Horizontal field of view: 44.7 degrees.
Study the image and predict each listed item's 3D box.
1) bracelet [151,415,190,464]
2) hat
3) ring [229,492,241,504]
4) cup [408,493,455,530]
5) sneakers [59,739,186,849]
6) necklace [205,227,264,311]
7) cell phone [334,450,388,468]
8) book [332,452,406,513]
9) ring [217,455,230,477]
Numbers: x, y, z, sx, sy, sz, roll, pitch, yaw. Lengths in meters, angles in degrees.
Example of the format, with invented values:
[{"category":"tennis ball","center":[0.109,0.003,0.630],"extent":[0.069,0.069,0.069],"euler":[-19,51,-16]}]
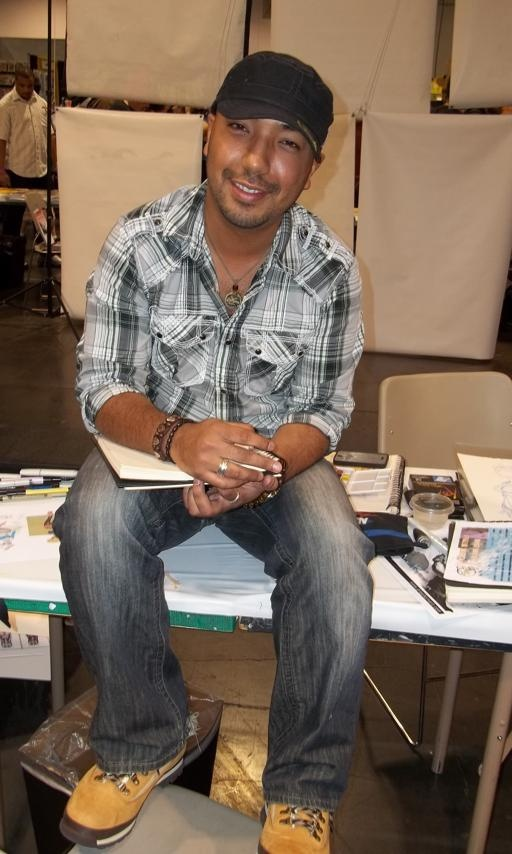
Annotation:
[{"category":"bracelet","center":[-0.135,0.018,0.987],"extent":[0.058,0.066,0.027],"euler":[-10,19,-42]},{"category":"hat","center":[0.034,-0.604,1.107],"extent":[0.171,0.117,0.232],"euler":[12,29,0]},{"category":"ring","center":[-0.035,0.119,1.050],"extent":[0.005,0.017,0.018],"euler":[20,12,4]},{"category":"cup","center":[0.329,0.150,1.170],"extent":[0.060,0.039,0.065],"euler":[2,26,-1]},{"category":"sneakers","center":[-0.188,0.523,0.926],"extent":[0.072,0.089,0.193],"euler":[22,27,19]},{"category":"necklace","center":[-0.041,-0.282,1.201],"extent":[0.095,0.120,0.005],"euler":[9,31,-10]},{"category":"cell phone","center":[0.248,0.076,1.470],"extent":[0.088,0.013,0.052],"euler":[3,21,10]},{"category":"book","center":[0.248,0.115,1.354],"extent":[0.104,0.026,0.154],"euler":[-3,22,11]},{"category":"ring","center":[-0.049,0.060,0.948],"extent":[0.021,0.023,0.022],"euler":[3,25,-1]}]
